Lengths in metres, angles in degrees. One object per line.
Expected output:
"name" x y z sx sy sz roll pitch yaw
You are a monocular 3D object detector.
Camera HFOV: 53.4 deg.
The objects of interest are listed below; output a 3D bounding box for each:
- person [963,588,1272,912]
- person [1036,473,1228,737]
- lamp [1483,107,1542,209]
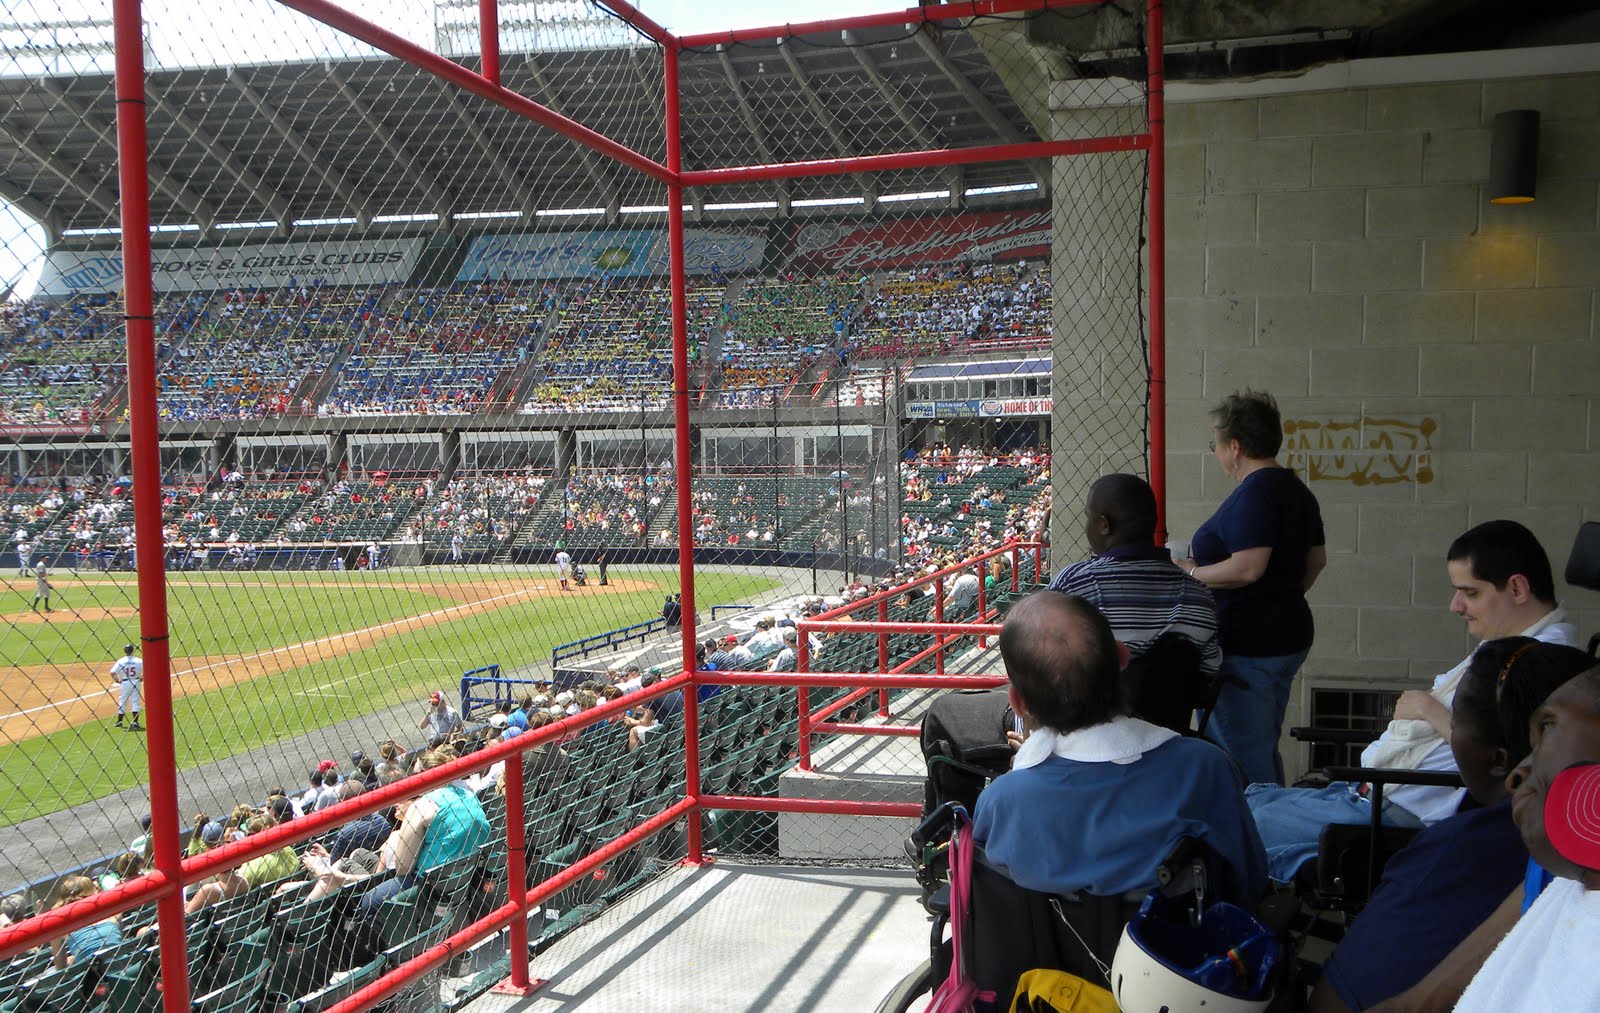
"person" 1.640 1.279 8.366 1.435 2.087 1.096 -8 20 9
"person" 1.955 0.573 9.074 0.827 1.813 0.938 -15 34 4
"lamp" 4.879 -2.424 10.872 0.328 0.598 0.163 1 4 20
